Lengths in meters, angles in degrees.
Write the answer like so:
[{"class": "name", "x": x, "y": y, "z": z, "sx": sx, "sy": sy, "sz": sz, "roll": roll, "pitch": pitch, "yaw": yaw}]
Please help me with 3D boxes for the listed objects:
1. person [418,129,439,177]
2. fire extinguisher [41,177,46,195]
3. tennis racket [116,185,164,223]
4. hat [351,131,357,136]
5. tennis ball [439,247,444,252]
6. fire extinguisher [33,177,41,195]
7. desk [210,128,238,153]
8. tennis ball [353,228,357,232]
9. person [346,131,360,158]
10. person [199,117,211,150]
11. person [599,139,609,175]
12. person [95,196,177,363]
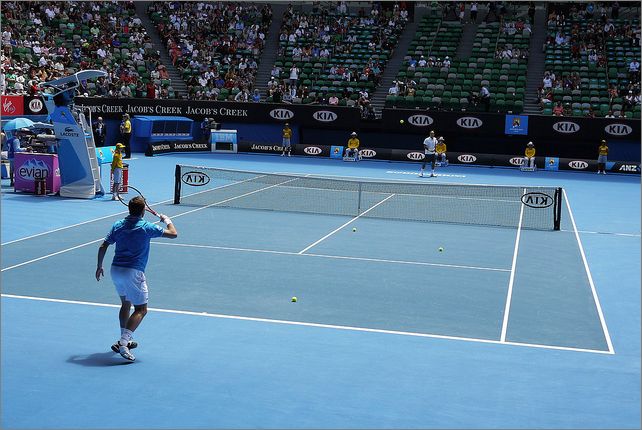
[{"class": "person", "x": 5.496, "y": -3.069, "z": 28.127, "sx": 1.067, "sy": 2.245, "sz": 0.792, "roll": 1, "pitch": 7, "yaw": -14}, {"class": "fire extinguisher", "x": -10.342, "y": -1.070, "z": 20.620, "sx": 0.239, "sy": 0.650, "sz": 0.113, "roll": -5, "pitch": 16, "yaw": -25}, {"class": "tennis racket", "x": -5.208, "y": -0.312, "z": 15.874, "sx": 0.595, "sy": 0.148, "sz": 2.116, "roll": -39, "pitch": 62, "yaw": -22}, {"class": "hat", "x": 1.972, "y": -4.977, "z": 34.060, "sx": 0.377, "sy": 0.116, "sz": 0.363, "roll": 0, "pitch": 3, "yaw": -5}, {"class": "tennis ball", "x": 3.327, "y": 0.960, "z": 15.534, "sx": 0.102, "sy": 0.068, "sz": 0.125, "roll": -1, "pitch": 2, "yaw": 4}, {"class": "fire extinguisher", "x": -10.479, "y": -1.067, "z": 20.602, "sx": 0.374, "sy": 0.646, "sz": 0.120, "roll": 3, "pitch": 15, "yaw": 3}, {"class": "desk", "x": -6.428, "y": -4.775, "z": 36.245, "sx": 1.552, "sy": 1.306, "sz": 1.520, "roll": 0, "pitch": 1, "yaw": -14}, {"class": "tennis ball", "x": 1.019, "y": 0.471, "z": 17.358, "sx": 0.112, "sy": 0.079, "sz": 0.136, "roll": -1, "pitch": 3, "yaw": 2}, {"class": "person", "x": 1.917, "y": -4.221, "z": 34.269, "sx": 0.880, "sy": 1.691, "sz": 0.924, "roll": 1, "pitch": 14, "yaw": -3}, {"class": "person", "x": -7.432, "y": -5.248, "z": 35.605, "sx": 0.562, "sy": 1.928, "sz": 0.724, "roll": -1, "pitch": 15, "yaw": -12}, {"class": "person", "x": 15.752, "y": -3.208, "z": 31.104, "sx": 0.511, "sy": 1.880, "sz": 1.053, "roll": 9, "pitch": 16, "yaw": 26}, {"class": "person", "x": -3.083, "y": 1.045, "z": 9.218, "sx": 1.074, "sy": 2.673, "sz": 0.808, "roll": -9, "pitch": 18, "yaw": -34}]
